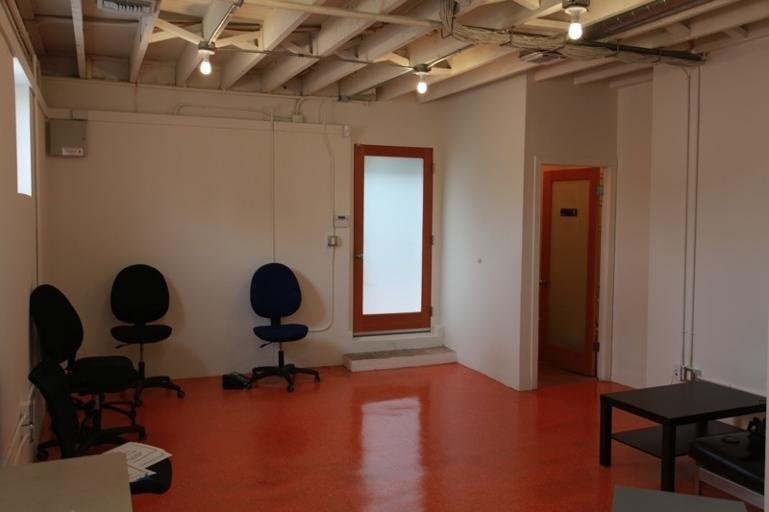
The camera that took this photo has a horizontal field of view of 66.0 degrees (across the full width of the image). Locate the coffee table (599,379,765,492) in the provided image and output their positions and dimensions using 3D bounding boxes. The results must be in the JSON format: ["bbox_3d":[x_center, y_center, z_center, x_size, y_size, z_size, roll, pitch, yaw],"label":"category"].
[{"bbox_3d":[2.643,1.417,5.369,1.237,0.632,0.855,-6,14,-25],"label":"coffee table"}]

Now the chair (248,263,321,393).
[{"bbox_3d":[-1.271,0.850,7.446,0.810,1.436,0.864,-1,11,-11],"label":"chair"}]
